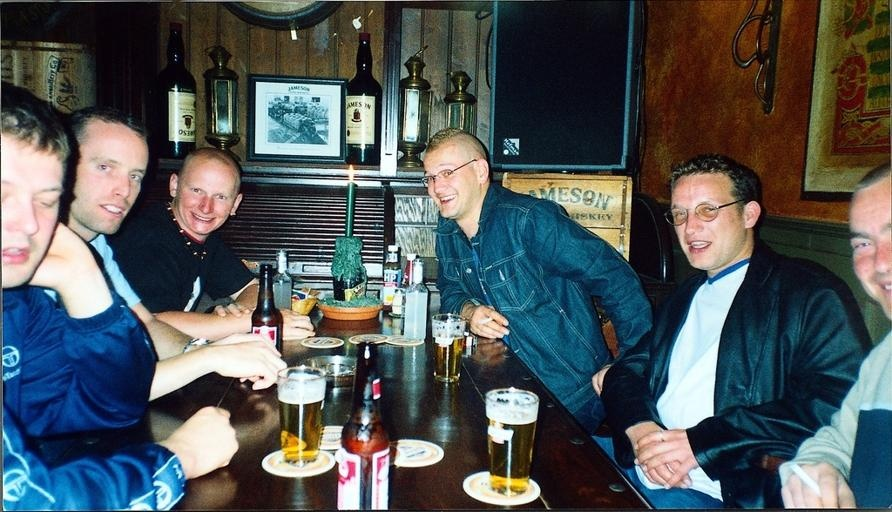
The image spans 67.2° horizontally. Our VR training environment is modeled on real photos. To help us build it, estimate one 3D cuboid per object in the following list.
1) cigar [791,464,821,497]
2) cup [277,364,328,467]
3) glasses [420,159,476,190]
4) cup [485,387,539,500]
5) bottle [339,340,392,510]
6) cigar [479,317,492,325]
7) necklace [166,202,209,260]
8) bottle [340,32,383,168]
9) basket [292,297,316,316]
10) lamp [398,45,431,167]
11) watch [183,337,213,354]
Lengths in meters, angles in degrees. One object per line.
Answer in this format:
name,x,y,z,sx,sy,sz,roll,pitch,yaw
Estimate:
cigar,1.408,0.871,2.615,0.050,0.038,0.160,34,16,-43
cup,-0.523,0.583,2.503,0.198,0.328,0.188,-1,7,0
glasses,0.007,-0.509,3.891,0.208,0.056,0.200,-35,14,-35
cup,0.235,0.657,2.415,0.181,0.351,0.184,-1,7,0
bottle,-0.293,0.583,2.306,0.180,0.553,0.137,-2,8,-9
cigar,0.207,0.339,3.524,0.058,0.014,0.028,-10,45,-4
necklace,-1.557,-0.135,3.991,0.086,0.309,0.259,-43,-16,22
bottle,-0.566,-1.075,4.629,0.248,0.899,0.158,-3,8,-10
basket,-0.777,0.277,3.707,0.112,0.064,0.092,-6,1,9
lamp,-0.218,-1.087,4.853,0.224,0.901,0.476,-1,7,6
watch,-1.180,0.405,3.156,0.106,0.089,0.102,4,-1,15
